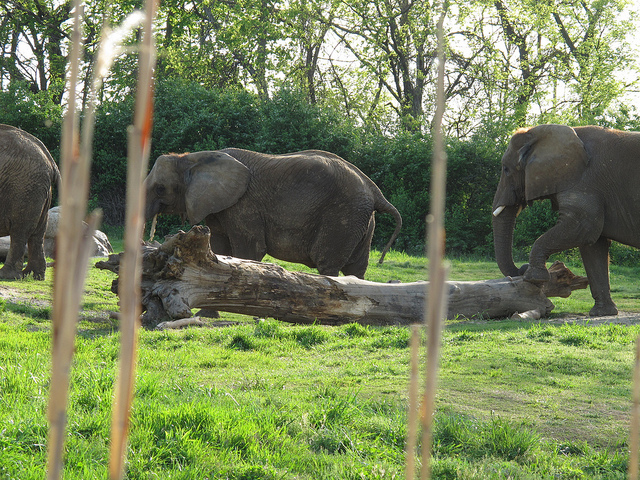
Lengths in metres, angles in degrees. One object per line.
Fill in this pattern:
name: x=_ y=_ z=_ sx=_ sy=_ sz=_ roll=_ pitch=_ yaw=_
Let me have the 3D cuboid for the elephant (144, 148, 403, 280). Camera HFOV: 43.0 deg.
elephant: x=-1.270 y=-0.247 z=14.187 sx=4.493 sy=2.916 sz=1.770 roll=3 pitch=5 yaw=-3

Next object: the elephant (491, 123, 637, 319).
elephant: x=4.129 y=-0.336 z=13.653 sx=2.036 sy=3.193 sz=1.468 roll=4 pitch=-3 yaw=1
